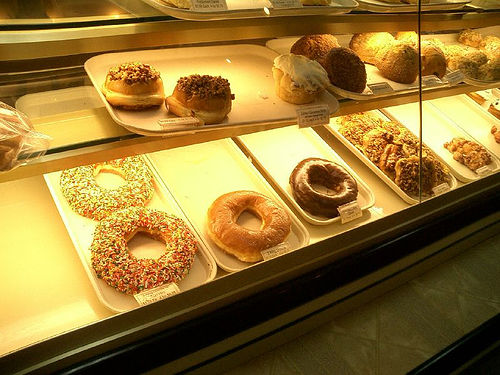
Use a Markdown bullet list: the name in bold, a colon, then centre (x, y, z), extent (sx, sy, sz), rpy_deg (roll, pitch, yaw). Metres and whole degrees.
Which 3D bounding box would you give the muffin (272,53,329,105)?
- **muffin**: centre (0.198, -0.427, 1.358), extent (0.206, 0.115, 0.220), rpy_deg (19, 38, -12)

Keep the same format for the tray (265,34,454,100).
- **tray**: centre (0.483, -0.537, 1.537), extent (0.445, 0.178, 0.497), rpy_deg (-15, 30, -26)

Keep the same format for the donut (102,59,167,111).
- **donut**: centre (-0.403, -0.361, 1.185), extent (0.210, 0.123, 0.211), rpy_deg (4, 33, -2)

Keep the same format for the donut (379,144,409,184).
- **donut**: centre (0.748, -0.128, 1.860), extent (0.138, 0.055, 0.183), rpy_deg (37, 79, 19)

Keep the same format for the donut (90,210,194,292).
- **donut**: centre (-0.402, 0.232, 1.292), extent (0.368, 0.078, 0.339), rpy_deg (-5, 49, -9)

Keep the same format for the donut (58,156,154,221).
- **donut**: centre (-0.597, -0.008, 1.472), extent (0.362, 0.109, 0.292), rpy_deg (-27, 56, -25)

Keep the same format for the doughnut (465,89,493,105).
- **doughnut**: centre (1.494, -0.597, 2.202), extent (0.125, 0.025, 0.123), rpy_deg (-30, 49, 2)

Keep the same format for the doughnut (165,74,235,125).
- **doughnut**: centre (-0.182, -0.334, 1.233), extent (0.269, 0.093, 0.214), rpy_deg (17, 38, 22)

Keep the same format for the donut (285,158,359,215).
- **donut**: centre (0.348, -0.004, 1.671), extent (0.349, 0.093, 0.344), rpy_deg (8, 48, 2)

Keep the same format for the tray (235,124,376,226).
- **tray**: centre (0.254, -0.137, 1.778), extent (0.420, 0.075, 0.747), rpy_deg (-17, 54, -36)

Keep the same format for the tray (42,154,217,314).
- **tray**: centre (-0.432, 0.257, 1.514), extent (0.743, 0.564, 0.718), rpy_deg (-11, 31, -18)

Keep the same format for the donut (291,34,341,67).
- **donut**: centre (0.309, -0.715, 1.662), extent (0.222, 0.120, 0.228), rpy_deg (20, 31, -2)

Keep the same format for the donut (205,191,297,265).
- **donut**: centre (-0.010, 0.157, 1.518), extent (0.380, 0.130, 0.385), rpy_deg (35, 44, 29)

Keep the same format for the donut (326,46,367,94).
- **donut**: centre (0.410, -0.497, 1.448), extent (0.153, 0.064, 0.200), rpy_deg (19, 62, -8)
